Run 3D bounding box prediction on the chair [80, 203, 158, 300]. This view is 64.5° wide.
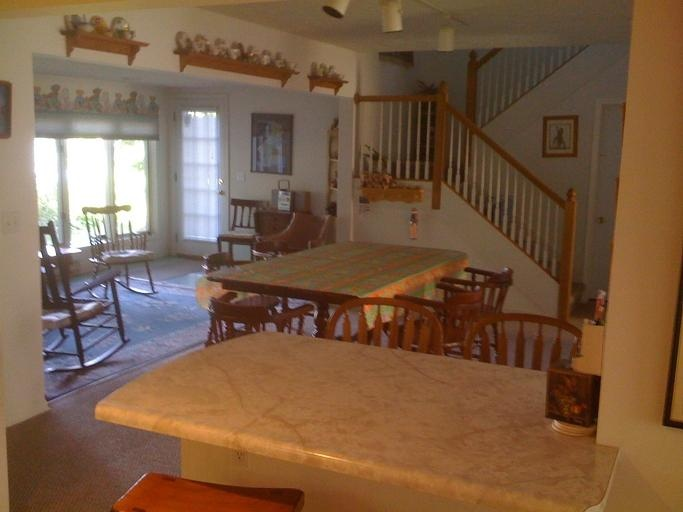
[{"bbox_3d":[-2.913,-0.057,7.129,1.036,1.139,0.925,5,13,3],"label":"chair"}]

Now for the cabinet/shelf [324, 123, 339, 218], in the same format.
[{"bbox_3d":[-0.140,-1.304,7.950,0.155,1.422,0.376,0,11,-3],"label":"cabinet/shelf"}]

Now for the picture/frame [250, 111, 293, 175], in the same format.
[{"bbox_3d":[-1.068,-1.795,8.476,0.962,1.219,0.089,4,6,23],"label":"picture/frame"}]

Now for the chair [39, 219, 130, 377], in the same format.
[{"bbox_3d":[-2.545,0.374,5.046,0.707,1.267,0.963,0,7,6],"label":"chair"}]

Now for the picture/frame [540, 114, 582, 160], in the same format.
[{"bbox_3d":[2.931,-1.587,7.156,0.605,0.738,0.052,3,7,30],"label":"picture/frame"}]
